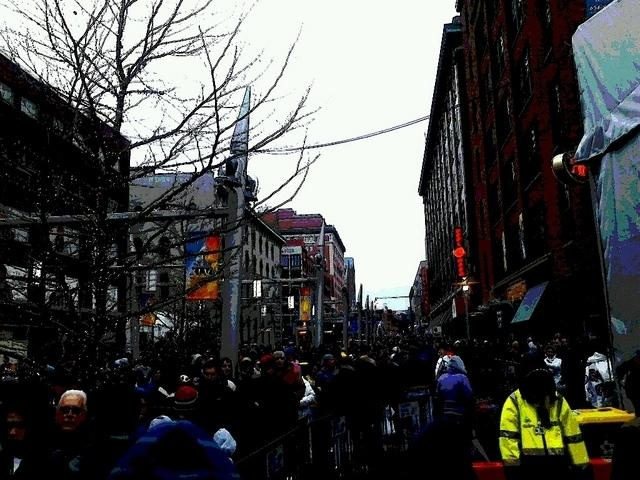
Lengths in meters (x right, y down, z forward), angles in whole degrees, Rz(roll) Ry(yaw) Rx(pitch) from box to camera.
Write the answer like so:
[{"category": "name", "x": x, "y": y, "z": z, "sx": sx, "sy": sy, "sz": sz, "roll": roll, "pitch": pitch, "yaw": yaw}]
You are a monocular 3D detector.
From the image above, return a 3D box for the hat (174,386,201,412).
[{"category": "hat", "x": -1.626, "y": 1.902, "z": 8.146, "sx": 0.281, "sy": 0.346, "sz": 0.304, "roll": 4, "pitch": -20, "yaw": -15}]
